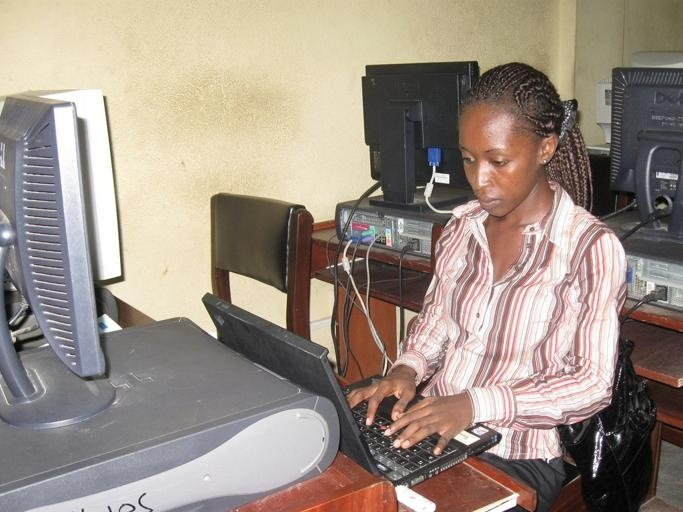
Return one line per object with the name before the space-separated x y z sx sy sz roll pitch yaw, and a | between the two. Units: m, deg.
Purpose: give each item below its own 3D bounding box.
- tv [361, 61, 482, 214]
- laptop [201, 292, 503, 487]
tv | 0.283 -0.422 2.026 0.554 0.551 0.279 13 29 39
laptop | 0.040 0.145 0.977 0.355 0.234 0.380 -9 15 -32
